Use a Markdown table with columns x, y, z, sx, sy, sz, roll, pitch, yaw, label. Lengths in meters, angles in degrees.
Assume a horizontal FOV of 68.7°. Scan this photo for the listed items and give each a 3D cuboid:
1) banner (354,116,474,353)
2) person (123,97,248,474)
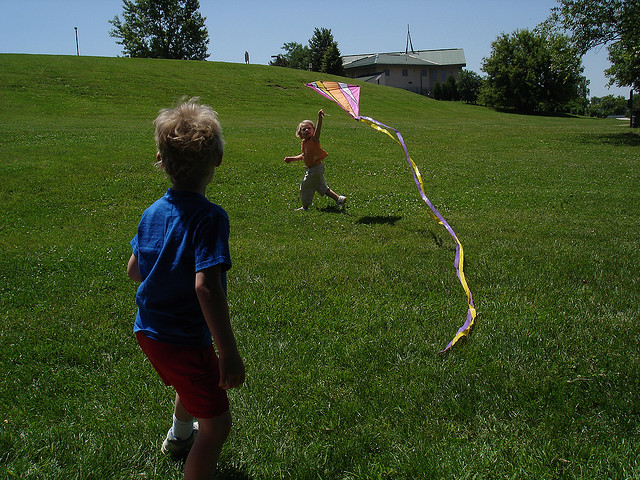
| x | y | z | sx | sy | sz | roll | pitch | yaw | label |
| --- | --- | --- | --- | --- | --- | --- | --- | --- | --- |
| 2.823 | 0.419 | 10.590 | 1.335 | 8.298 | 0.387 | 21 | 66 | 42 | banner |
| -1.067 | 0.365 | 3.811 | 0.720 | 2.912 | 1.051 | -11 | 14 | -41 | person |
